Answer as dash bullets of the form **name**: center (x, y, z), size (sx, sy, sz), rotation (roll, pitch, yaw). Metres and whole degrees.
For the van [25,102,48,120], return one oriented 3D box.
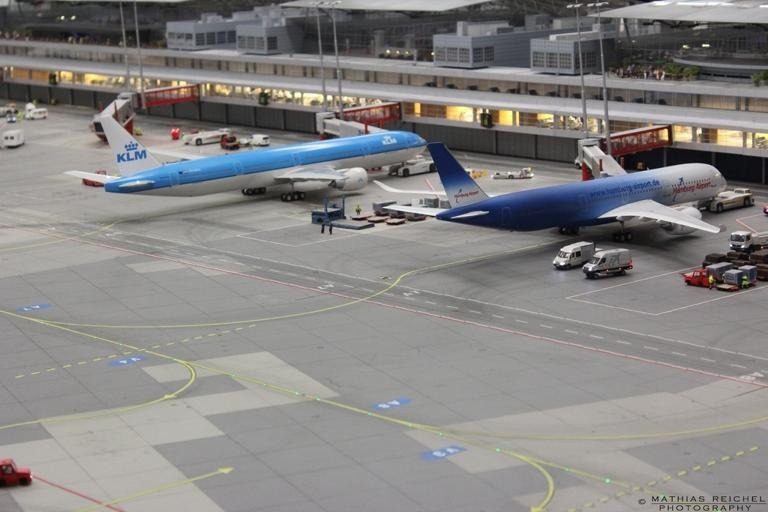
- **van**: center (-56.728, -23.201, 153.552), size (3.354, 2.451, 3.346), rotation (-7, 11, -17)

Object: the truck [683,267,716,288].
- **truck**: center (25.739, 1.855, 77.174), size (2.404, 1.489, 0.984), rotation (2, 15, 27)

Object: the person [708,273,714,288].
- **person**: center (26.537, 2.027, 76.798), size (0.552, 1.083, 0.595), rotation (-3, 14, 15)
